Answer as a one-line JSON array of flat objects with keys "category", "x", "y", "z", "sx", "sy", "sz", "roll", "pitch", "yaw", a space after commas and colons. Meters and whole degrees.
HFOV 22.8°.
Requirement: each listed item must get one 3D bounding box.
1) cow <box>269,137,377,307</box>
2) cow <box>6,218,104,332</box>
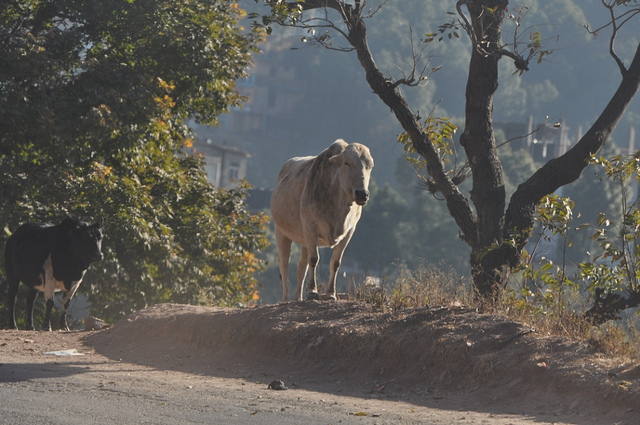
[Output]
[{"category": "cow", "x": -0.099, "y": 0.374, "z": 67.796, "sx": 3.118, "sy": 6.647, "sz": 8.526, "roll": 7, "pitch": -8, "yaw": -25}, {"category": "cow", "x": -11.930, "y": 2.627, "z": 70.415, "sx": 6.255, "sy": 4.935, "sz": 2.719, "roll": -18, "pitch": -20, "yaw": 36}]
